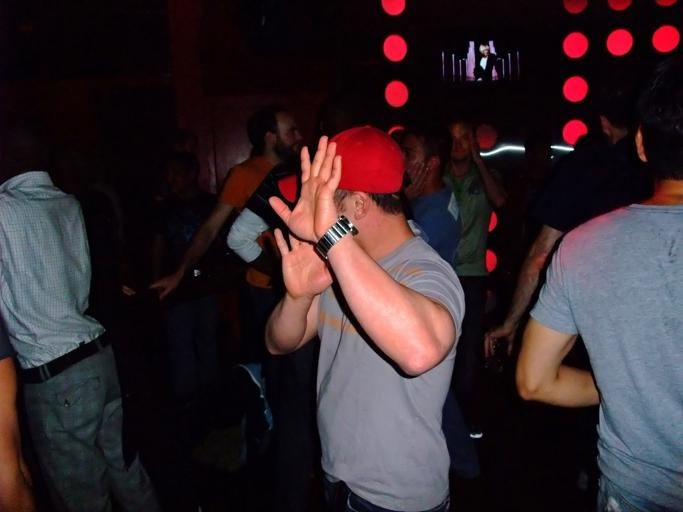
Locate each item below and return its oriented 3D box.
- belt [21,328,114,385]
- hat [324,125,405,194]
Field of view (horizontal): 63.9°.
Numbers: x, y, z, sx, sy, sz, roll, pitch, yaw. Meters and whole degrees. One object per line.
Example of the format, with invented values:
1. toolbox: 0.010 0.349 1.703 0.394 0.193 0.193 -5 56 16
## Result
1. belt: -1.525 0.576 3.016 0.313 0.078 0.285 -32 14 -16
2. hat: 0.092 -0.409 2.343 0.309 0.198 0.233 18 38 7
